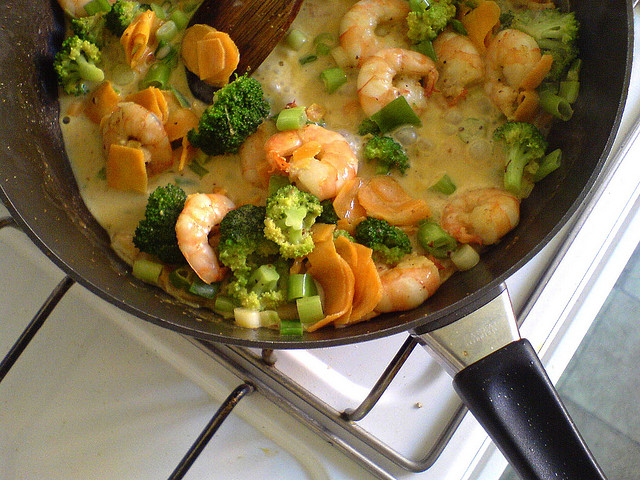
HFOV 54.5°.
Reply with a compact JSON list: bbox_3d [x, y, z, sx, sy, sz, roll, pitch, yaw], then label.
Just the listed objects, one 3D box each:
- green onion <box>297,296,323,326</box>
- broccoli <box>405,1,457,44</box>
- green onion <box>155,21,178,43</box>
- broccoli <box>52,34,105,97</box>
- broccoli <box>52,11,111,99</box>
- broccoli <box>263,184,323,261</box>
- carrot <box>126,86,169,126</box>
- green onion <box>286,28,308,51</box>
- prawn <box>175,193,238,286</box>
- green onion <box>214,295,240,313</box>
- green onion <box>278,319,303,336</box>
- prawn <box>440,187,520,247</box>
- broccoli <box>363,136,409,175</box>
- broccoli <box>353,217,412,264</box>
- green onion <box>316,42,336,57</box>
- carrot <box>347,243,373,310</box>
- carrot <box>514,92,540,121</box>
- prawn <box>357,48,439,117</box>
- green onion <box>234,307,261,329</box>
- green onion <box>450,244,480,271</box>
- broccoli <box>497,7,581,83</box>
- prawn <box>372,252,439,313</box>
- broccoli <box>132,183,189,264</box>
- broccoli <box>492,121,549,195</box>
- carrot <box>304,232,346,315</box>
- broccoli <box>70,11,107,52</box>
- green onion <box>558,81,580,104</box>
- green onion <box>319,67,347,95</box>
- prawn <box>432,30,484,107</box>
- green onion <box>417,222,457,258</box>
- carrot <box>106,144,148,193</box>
[{"bbox_3d":[-0.030,0.245,2.167,0.085,0.119,0.081,-9,5,3],"label":"green onion"},{"bbox_3d":[0.397,-0.809,2.277,0.123,0.171,0.059,26,3,-16],"label":"broccoli"},{"bbox_3d":[-0.586,-0.797,2.369,0.066,0.046,0.035,-46,17,-2],"label":"green onion"},{"bbox_3d":[-0.877,-0.652,2.364,0.180,0.217,0.184,20,36,17],"label":"broccoli"},{"bbox_3d":[-0.938,-0.706,2.440,0.221,0.151,0.317,-59,15,-11],"label":"broccoli"},{"bbox_3d":[-0.111,-0.080,2.194,0.224,0.234,0.174,-14,34,-34],"label":"broccoli"},{"bbox_3d":[-0.608,-0.516,2.312,0.145,0.127,0.151,-24,35,-38],"label":"carrot"},{"bbox_3d":[-0.088,-0.762,2.365,0.075,0.074,0.037,-49,6,11],"label":"green onion"},{"bbox_3d":[-0.394,0.002,2.150,0.221,0.195,0.251,-19,32,-36],"label":"prawn"},{"bbox_3d":[-0.324,0.228,2.175,0.089,0.040,0.051,5,81,4],"label":"green onion"},{"bbox_3d":[-0.098,0.302,2.103,0.055,0.032,0.057,2,49,-5],"label":"green onion"},{"bbox_3d":[0.555,-0.081,2.162,0.219,0.101,0.211,-28,76,6],"label":"prawn"},{"bbox_3d":[0.242,-0.309,2.294,0.115,0.161,0.065,0,1,-1],"label":"broccoli"},{"bbox_3d":[0.212,-0.004,2.190,0.175,0.161,0.208,0,24,-1],"label":"broccoli"},{"bbox_3d":[0.022,-0.731,2.381,0.082,0.085,0.049,-1,19,-3],"label":"green onion"},{"bbox_3d":[0.128,0.123,2.164,0.104,0.178,0.144,-15,38,-26],"label":"carrot"},{"bbox_3d":[0.737,-0.471,2.207,0.083,0.094,0.075,-7,42,-33],"label":"carrot"},{"bbox_3d":[0.283,-0.594,2.297,0.250,0.242,0.102,-8,-3,-8],"label":"prawn"},{"bbox_3d":[-0.249,0.268,2.109,0.060,0.044,0.065,7,14,6],"label":"green onion"},{"bbox_3d":[0.510,0.051,2.185,0.065,0.094,0.092,5,19,28],"label":"green onion"},{"bbox_3d":[0.805,-0.744,2.222,0.193,0.270,0.270,-9,36,-15],"label":"broccoli"},{"bbox_3d":[0.296,0.154,2.152,0.226,0.077,0.157,-30,81,3],"label":"prawn"},{"bbox_3d":[-0.548,-0.059,2.226,0.202,0.254,0.165,-20,37,-32],"label":"broccoli"},{"bbox_3d":[0.702,-0.289,2.218,0.186,0.253,0.193,5,8,-5],"label":"broccoli"},{"bbox_3d":[0.026,0.114,2.130,0.168,0.251,0.077,5,8,32],"label":"carrot"},{"bbox_3d":[-0.852,-0.795,2.365,0.153,0.080,0.111,-35,83,-24],"label":"broccoli"},{"bbox_3d":[0.870,-0.520,2.169,0.048,0.088,0.071,3,-2,10],"label":"green onion"},{"bbox_3d":[0.053,-0.606,2.367,0.087,0.097,0.035,-23,-1,-9],"label":"green onion"},{"bbox_3d":[0.489,-0.640,2.300,0.207,0.251,0.204,1,25,6],"label":"prawn"},{"bbox_3d":[0.405,0.003,2.171,0.083,0.140,0.056,-48,6,13],"label":"green onion"},{"bbox_3d":[-0.697,-0.253,2.245,0.142,0.166,0.042,6,20,12],"label":"carrot"}]
